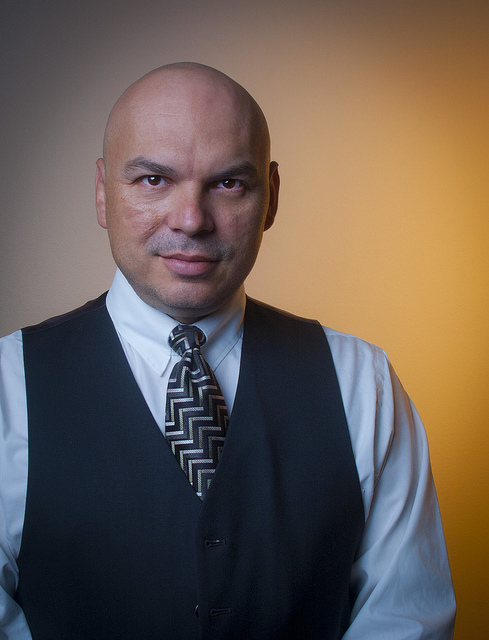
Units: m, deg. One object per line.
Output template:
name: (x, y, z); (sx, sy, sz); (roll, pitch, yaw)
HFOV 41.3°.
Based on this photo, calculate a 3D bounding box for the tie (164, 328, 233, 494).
tie: (-0.082, 0.137, 1.033); (0.096, 0.260, 0.089); (-2, -5, 12)
